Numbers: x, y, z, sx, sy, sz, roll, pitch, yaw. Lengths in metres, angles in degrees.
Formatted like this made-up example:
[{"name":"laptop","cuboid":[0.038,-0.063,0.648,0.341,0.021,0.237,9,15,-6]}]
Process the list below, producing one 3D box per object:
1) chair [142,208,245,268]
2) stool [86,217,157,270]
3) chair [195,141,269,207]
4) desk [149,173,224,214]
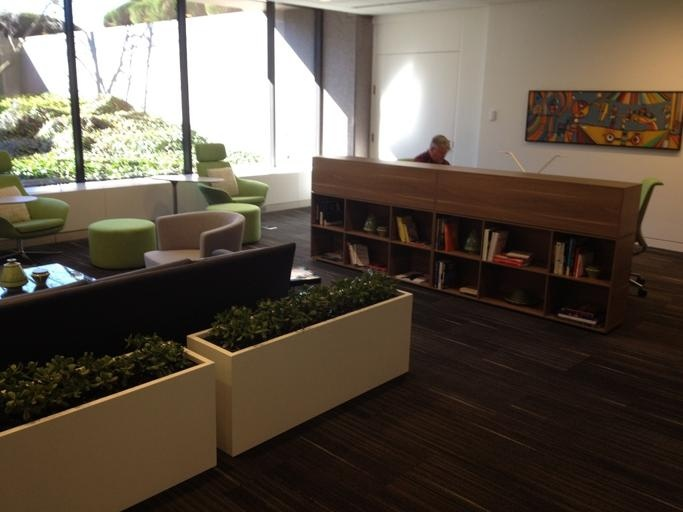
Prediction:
[{"name":"chair","cuboid":[-1.489,-0.196,4.912,0.807,0.732,0.748,12,14,37]},{"name":"stool","cuboid":[-2.775,-0.181,6.098,0.698,0.506,0.707,3,12,0]},{"name":"chair","cuboid":[-1.834,-1.341,8.020,1.080,1.326,1.196,4,14,39]},{"name":"desk","cuboid":[-2.365,-1.062,7.401,0.811,0.556,0.802,1,10,-3]}]
